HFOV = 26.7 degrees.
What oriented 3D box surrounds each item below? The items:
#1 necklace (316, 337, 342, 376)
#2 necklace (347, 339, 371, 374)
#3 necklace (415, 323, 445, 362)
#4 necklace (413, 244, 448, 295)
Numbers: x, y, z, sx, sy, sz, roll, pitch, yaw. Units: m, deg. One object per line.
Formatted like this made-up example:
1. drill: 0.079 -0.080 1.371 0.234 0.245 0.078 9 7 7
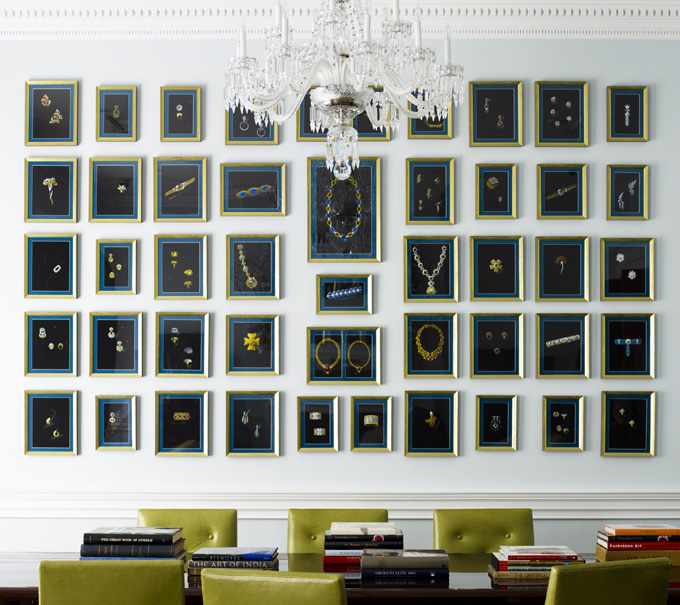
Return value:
1. necklace: -0.060 0.338 8.576 0.177 0.272 0.036 1 -3 -2
2. necklace: 0.125 0.334 8.577 0.161 0.265 0.027 1 -3 0
3. necklace: 0.550 0.254 8.577 0.185 0.283 0.026 -1 1 4
4. necklace: 0.544 -0.197 8.580 0.246 0.425 0.080 0 -1 -4
